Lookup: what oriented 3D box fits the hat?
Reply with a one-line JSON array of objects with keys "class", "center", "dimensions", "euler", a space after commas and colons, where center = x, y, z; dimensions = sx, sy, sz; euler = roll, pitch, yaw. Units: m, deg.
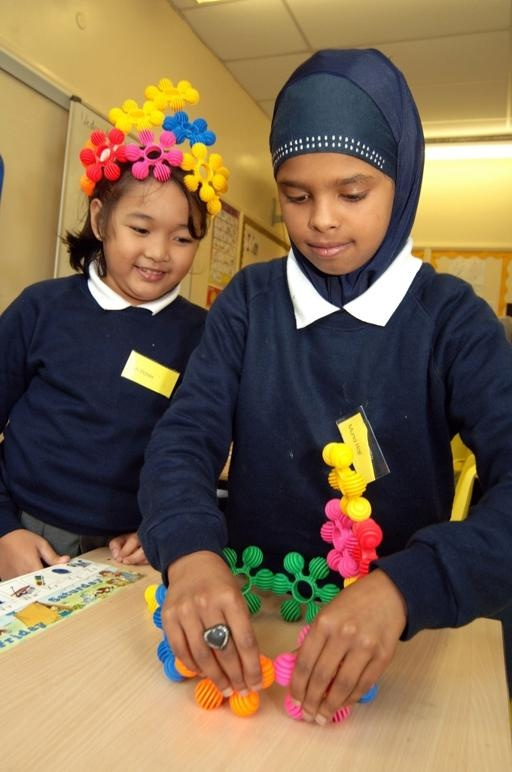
[{"class": "hat", "center": [0.096, -0.325, 0.687], "dimensions": [0.171, 0.120, 0.106], "euler": [3, -2, 8]}]

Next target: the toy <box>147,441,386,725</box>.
[{"class": "toy", "center": [0.036, 0.197, 0.560], "dimensions": [0.075, 0.266, 0.198], "euler": [24, -6, -40]}]

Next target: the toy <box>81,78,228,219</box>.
[{"class": "toy", "center": [-0.260, -0.494, 1.210], "dimensions": [0.361, 0.288, 0.112], "euler": [6, -14, 6]}]
